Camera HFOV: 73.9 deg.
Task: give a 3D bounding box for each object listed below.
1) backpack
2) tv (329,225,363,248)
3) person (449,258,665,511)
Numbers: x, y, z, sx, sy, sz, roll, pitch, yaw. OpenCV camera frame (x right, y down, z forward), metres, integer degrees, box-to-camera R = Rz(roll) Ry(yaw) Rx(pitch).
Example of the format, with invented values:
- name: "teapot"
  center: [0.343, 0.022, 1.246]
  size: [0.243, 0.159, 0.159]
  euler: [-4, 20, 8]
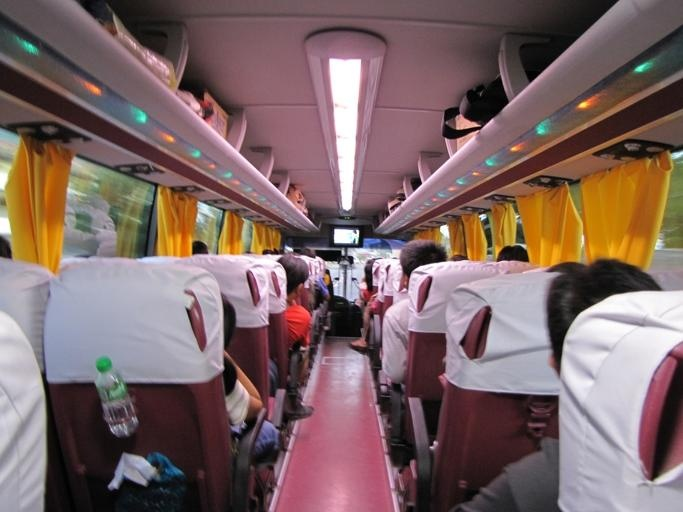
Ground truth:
- name: "backpack"
  center: [0.904, -0.908, 2.832]
  size: [0.472, 0.173, 0.341]
  euler: [-34, -4, 21]
- name: "tv"
  center: [0.129, -0.316, 11.832]
  size: [0.855, 0.633, 0.473]
  euler: [0, -5, -1]
- name: "person"
  center: [0.724, 0.471, 1.539]
  size: [0.620, 0.924, 0.279]
  euler: [1, 0, -4]
